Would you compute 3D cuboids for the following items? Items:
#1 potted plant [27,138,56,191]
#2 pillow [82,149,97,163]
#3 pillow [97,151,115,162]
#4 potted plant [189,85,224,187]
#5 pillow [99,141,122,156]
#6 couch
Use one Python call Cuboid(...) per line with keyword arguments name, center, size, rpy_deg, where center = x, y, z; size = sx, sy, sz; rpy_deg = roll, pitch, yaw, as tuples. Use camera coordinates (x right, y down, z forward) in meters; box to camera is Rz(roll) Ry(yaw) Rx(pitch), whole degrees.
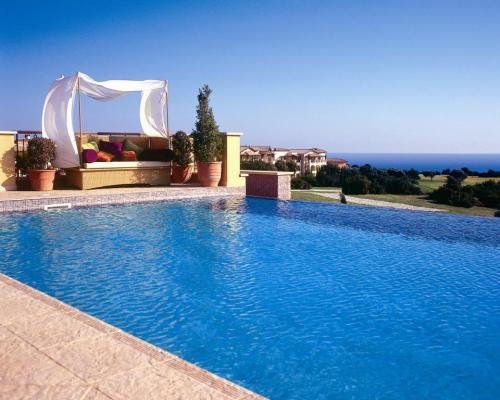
Cuboid(name="potted plant", center=(-6.357, -1.112, 10.738), size=(0.818, 1.379, 0.848), rpy_deg=(4, 17, 41))
Cuboid(name="pillow", center=(-4.845, -1.309, 10.831), size=(0.446, 0.353, 0.434), rpy_deg=(-19, 15, -30))
Cuboid(name="pillow", center=(-4.836, -1.445, 11.986), size=(0.489, 0.300, 0.613), rpy_deg=(-2, 9, -17))
Cuboid(name="potted plant", center=(-1.462, -2.202, 12.186), size=(1.092, 3.469, 0.899), rpy_deg=(9, 13, 42))
Cuboid(name="pillow", center=(-4.861, -1.809, 12.490), size=(0.712, 0.307, 0.621), rpy_deg=(3, 30, -16))
Cuboid(name="couch", center=(-4.183, -1.328, 12.377), size=(3.846, 1.682, 1.856), rpy_deg=(-3, 11, -34))
